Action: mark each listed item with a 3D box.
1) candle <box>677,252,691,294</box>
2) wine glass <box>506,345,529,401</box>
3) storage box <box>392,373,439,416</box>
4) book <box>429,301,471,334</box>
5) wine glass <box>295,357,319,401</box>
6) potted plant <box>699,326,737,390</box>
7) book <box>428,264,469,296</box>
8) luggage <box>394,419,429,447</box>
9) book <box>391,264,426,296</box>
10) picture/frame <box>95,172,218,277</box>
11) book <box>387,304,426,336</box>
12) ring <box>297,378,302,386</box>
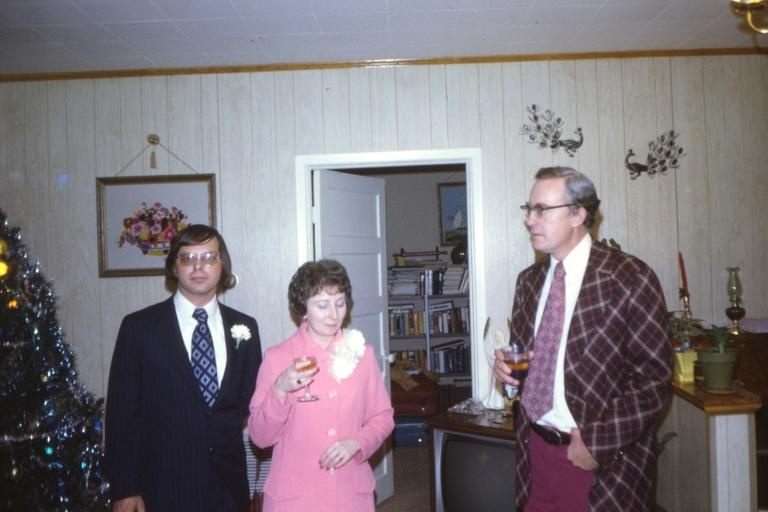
[{"bbox_3d":[2.235,0.126,4.384,0.067,0.312,0.862,-2,1,28],"label":"candle"},{"bbox_3d":[0.757,0.668,3.335,0.127,0.366,0.315,-2,1,10],"label":"wine glass"},{"bbox_3d":[0.316,1.451,6.064,0.470,0.342,0.208,-2,1,0],"label":"storage box"},{"bbox_3d":[0.752,0.717,6.828,0.454,0.294,0.193,-2,1,5],"label":"book"},{"bbox_3d":[-0.400,0.647,3.077,0.111,0.209,0.213,-2,1,-7],"label":"wine glass"},{"bbox_3d":[2.112,0.656,3.737,0.207,0.384,0.190,-3,1,-18],"label":"potted plant"},{"bbox_3d":[0.753,0.282,6.783,0.437,0.331,0.424,0,-3,5],"label":"book"},{"bbox_3d":[0.272,1.793,5.976,0.329,0.228,0.076,-2,1,-3],"label":"luggage"},{"bbox_3d":[0.263,0.291,6.826,0.487,0.439,0.290,0,-6,-2],"label":"book"},{"bbox_3d":[-1.746,-0.230,4.523,0.816,0.716,0.054,-1,-2,-2],"label":"picture/frame"},{"bbox_3d":[0.263,0.746,6.790,0.311,0.421,0.436,0,-4,1],"label":"book"},{"bbox_3d":[-0.430,0.645,2.998,0.027,0.038,0.010,-3,18,4],"label":"ring"}]
